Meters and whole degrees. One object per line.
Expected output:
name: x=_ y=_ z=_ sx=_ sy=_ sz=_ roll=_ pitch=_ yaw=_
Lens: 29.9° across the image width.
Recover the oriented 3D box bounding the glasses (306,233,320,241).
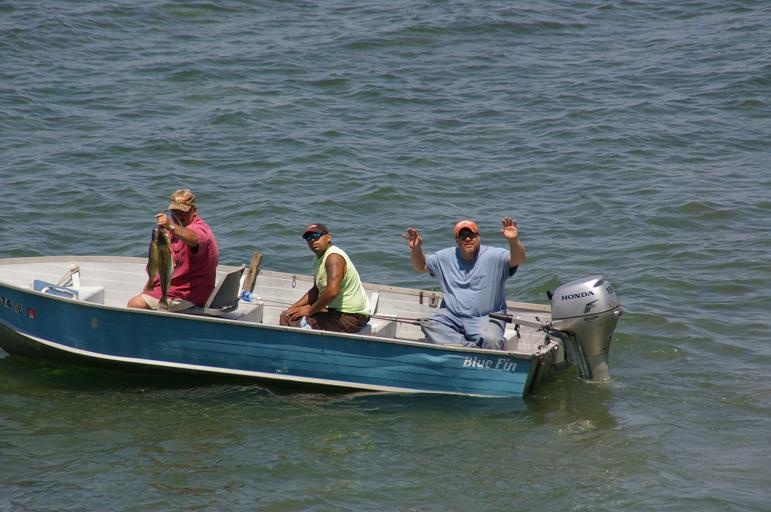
glasses: x=-1.154 y=-0.299 z=23.353 sx=0.259 sy=0.161 sz=0.083 roll=4 pitch=25 yaw=8

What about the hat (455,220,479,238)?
hat: x=1.311 y=-0.474 z=23.603 sx=0.382 sy=0.172 sz=0.429 roll=-9 pitch=-15 yaw=7

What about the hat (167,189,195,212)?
hat: x=-3.286 y=-0.885 z=23.511 sx=0.406 sy=0.209 sz=0.482 roll=0 pitch=0 yaw=4
